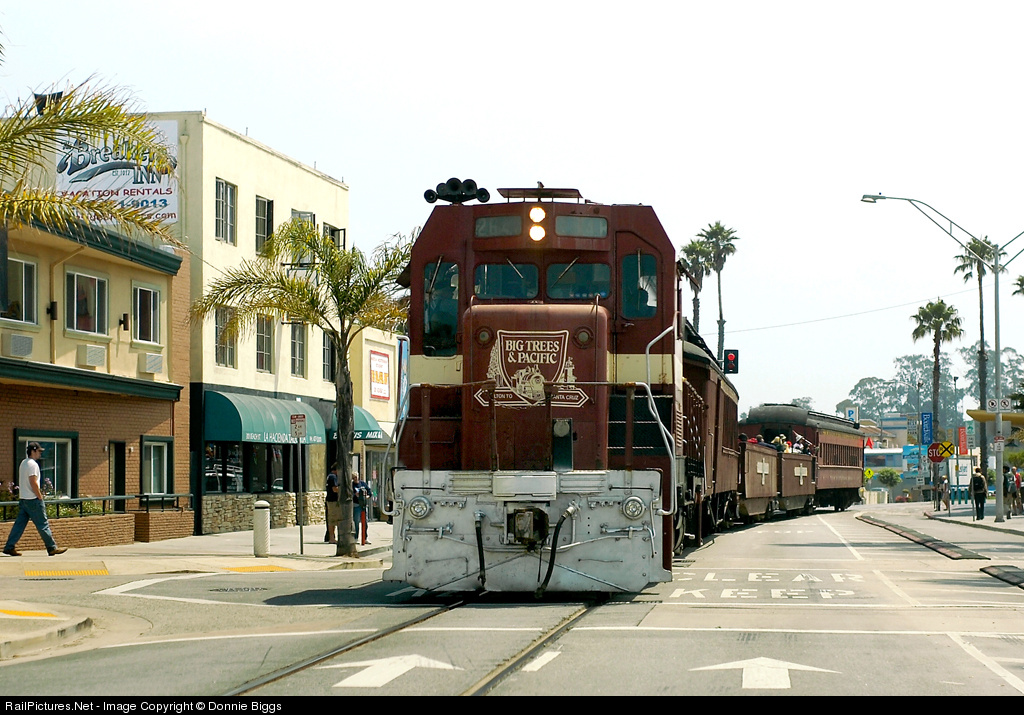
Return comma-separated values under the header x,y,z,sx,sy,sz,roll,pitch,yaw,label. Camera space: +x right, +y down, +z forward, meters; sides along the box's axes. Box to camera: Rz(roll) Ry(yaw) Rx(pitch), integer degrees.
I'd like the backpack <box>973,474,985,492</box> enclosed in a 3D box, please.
x,y,z,sx,sy,sz,roll,pitch,yaw,label
17.969,4.856,43.742,0.574,0.805,0.430,3,2,19,backpack
